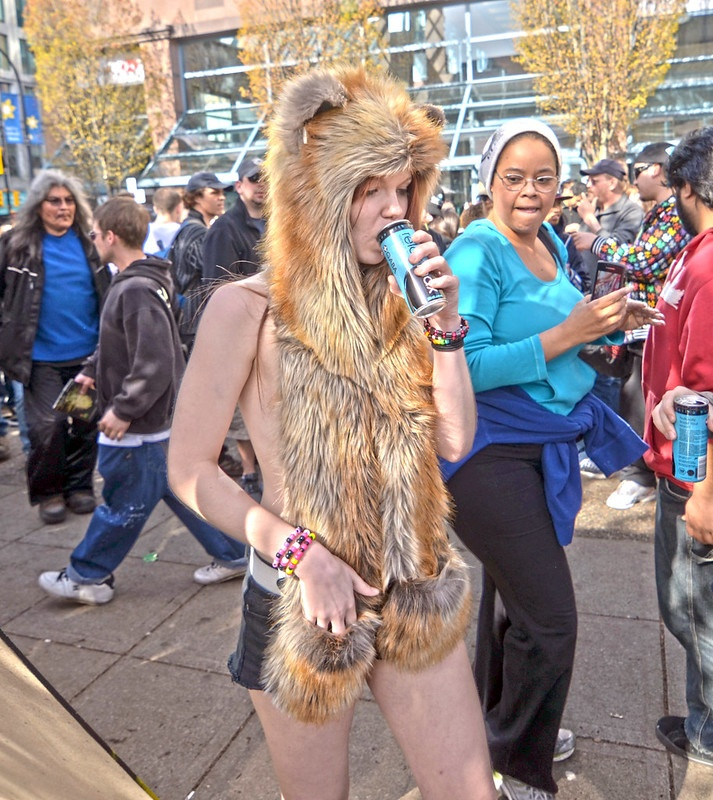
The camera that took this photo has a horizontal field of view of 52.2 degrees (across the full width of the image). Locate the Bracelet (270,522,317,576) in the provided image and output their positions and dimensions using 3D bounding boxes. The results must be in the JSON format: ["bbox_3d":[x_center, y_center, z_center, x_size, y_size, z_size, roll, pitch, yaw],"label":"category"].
[{"bbox_3d":[-0.122,0.293,1.399,0.037,0.066,0.093,32,4,7],"label":"Bracelet"}]

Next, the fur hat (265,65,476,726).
[{"bbox_3d":[-0.005,-0.023,1.525,0.473,1.284,0.382,-5,13,-9],"label":"fur hat"}]

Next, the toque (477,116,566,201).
[{"bbox_3d":[0.491,-0.744,2.282,0.203,0.258,0.212,5,5,-7],"label":"toque"}]

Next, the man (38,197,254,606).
[{"bbox_3d":[-1.224,0.064,4.164,1.379,2.220,1.014,-3,15,-29],"label":"man"}]

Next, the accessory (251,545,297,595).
[{"bbox_3d":[-0.183,0.363,1.547,0.088,0.058,0.085,7,13,2],"label":"accessory"}]
